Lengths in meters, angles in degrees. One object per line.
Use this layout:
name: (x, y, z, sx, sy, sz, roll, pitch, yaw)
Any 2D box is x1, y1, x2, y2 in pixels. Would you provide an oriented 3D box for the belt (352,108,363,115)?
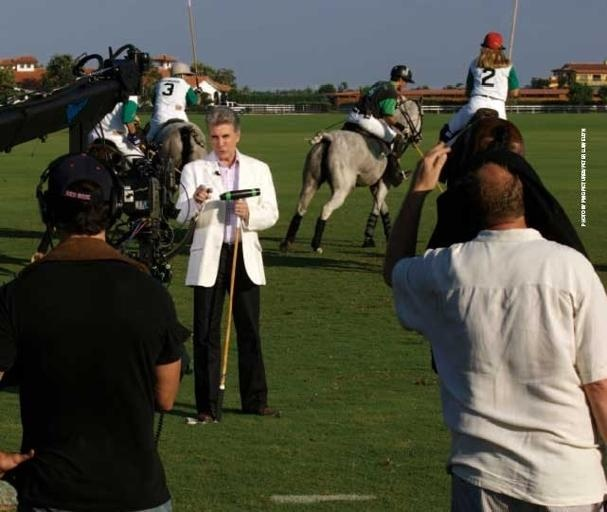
belt: (0.673, -1.750, 12.908, 0.117, 0.068, 0.113, 7, -7, -32)

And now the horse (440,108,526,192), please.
horse: (0.843, -0.519, 4.940, 0.231, 0.414, 0.766, 12, -3, -5)

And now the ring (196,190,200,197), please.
ring: (-0.606, -0.364, 6.286, 0.009, 0.024, 0.020, 10, -14, -28)

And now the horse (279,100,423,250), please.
horse: (0.706, -0.977, 13.126, 0.611, 1.768, 2.301, 12, 12, 35)

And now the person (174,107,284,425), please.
person: (-0.451, 0.041, 6.650, 0.611, 1.902, 0.686, -1, 11, -2)

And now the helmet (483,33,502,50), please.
helmet: (1.995, -2.235, 11.202, 0.198, 0.158, 0.304, 1, 10, 7)
